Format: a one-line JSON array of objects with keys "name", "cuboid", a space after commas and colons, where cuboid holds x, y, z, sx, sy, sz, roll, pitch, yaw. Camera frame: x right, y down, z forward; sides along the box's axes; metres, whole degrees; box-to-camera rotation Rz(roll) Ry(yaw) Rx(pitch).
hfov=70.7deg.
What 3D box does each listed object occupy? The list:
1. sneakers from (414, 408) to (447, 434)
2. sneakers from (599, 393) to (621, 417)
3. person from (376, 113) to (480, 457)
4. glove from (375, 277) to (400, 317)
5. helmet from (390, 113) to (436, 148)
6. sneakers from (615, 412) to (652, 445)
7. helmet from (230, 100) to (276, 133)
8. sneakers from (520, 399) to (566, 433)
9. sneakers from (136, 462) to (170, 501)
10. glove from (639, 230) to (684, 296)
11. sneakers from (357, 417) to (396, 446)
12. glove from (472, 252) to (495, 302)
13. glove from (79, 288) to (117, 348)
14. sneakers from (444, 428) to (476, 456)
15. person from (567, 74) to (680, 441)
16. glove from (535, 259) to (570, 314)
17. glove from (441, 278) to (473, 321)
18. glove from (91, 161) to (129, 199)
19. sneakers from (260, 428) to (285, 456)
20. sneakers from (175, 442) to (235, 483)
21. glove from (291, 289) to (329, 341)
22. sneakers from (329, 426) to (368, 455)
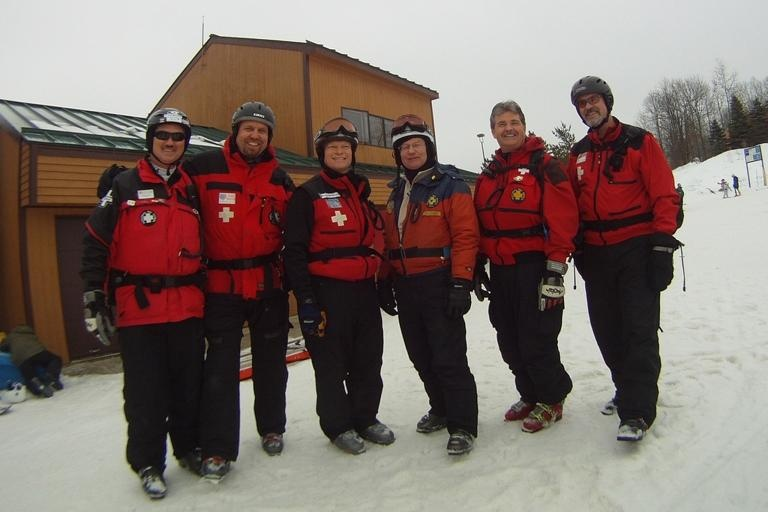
[{"name": "sneakers", "cuboid": [0.525, 1.951, 6.265, 0.336, 0.164, 0.188, 1, 2, -3]}, {"name": "sneakers", "cuboid": [2.579, 1.738, 6.158, 0.263, 0.093, 0.172, -41, 26, -12]}, {"name": "person", "cuboid": [0.569, 0.224, 6.052, 0.826, 3.625, 1.279, -10, 9, -31]}, {"name": "glove", "cuboid": [0.030, 0.489, 6.354, 0.177, 0.527, 0.365, -3, -5, -5]}, {"name": "helmet", "cuboid": [0.322, -1.434, 6.291, 0.332, 0.423, 0.375, -19, 42, 13]}, {"name": "sneakers", "cuboid": [2.482, 1.772, 5.428, 0.346, 0.228, 0.105, -19, -16, 21]}, {"name": "helmet", "cuboid": [-1.520, -1.602, 6.199, 0.377, 0.369, 0.497, 7, 18, -23]}, {"name": "sneakers", "cuboid": [1.791, 1.787, 6.007, 0.545, 0.260, 0.210, -10, 10, -28]}, {"name": "sneakers", "cuboid": [-2.318, 2.315, 5.435, 0.222, 0.366, 0.144, -26, -10, -22]}, {"name": "glove", "cuboid": [2.880, 0.061, 5.590, 0.432, 0.570, 0.208, 5, 0, 10]}, {"name": "sneakers", "cuboid": [-0.117, 2.036, 6.148, 0.445, 0.205, 0.179, -7, -2, 40]}, {"name": "glove", "cuboid": [1.131, 0.277, 6.178, 0.150, 0.470, 0.347, 2, 9, 7]}, {"name": "glove", "cuboid": [-2.933, 0.615, 5.571, 0.228, 0.644, 0.316, -7, 0, 43]}, {"name": "sneakers", "cuboid": [0.822, 1.984, 5.684, 0.390, 0.223, 0.202, -9, 9, -21]}, {"name": "person", "cuboid": [2.636, -0.086, 5.755, 1.004, 3.767, 1.308, -5, 8, 6]}, {"name": "glove", "cuboid": [1.810, 0.331, 5.796, 0.308, 0.542, 0.230, 11, 0, 3]}, {"name": "glove", "cuboid": [0.793, 0.477, 5.776, 0.298, 0.393, 0.168, 4, 8, -3]}, {"name": "glove", "cuboid": [-2.885, -0.796, 5.786, 0.350, 0.430, 0.166, 21, -4, 29]}, {"name": "sneakers", "cuboid": [-1.240, 2.112, 6.030, 0.145, 0.132, 0.304, 0, 8, -7]}, {"name": "sneakers", "cuboid": [-1.899, 2.213, 5.773, 0.686, 0.300, 0.251, -4, -1, 37]}, {"name": "glove", "cuboid": [-0.780, 0.664, 5.864, 0.348, 0.454, 0.165, -8, 6, -1]}, {"name": "sneakers", "cuboid": [-0.378, 2.070, 5.928, 0.364, 0.164, 0.189, -8, 0, 42]}]
